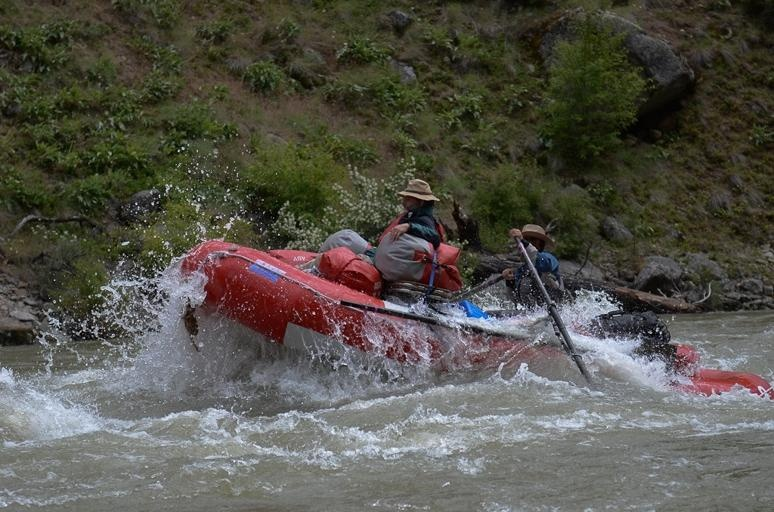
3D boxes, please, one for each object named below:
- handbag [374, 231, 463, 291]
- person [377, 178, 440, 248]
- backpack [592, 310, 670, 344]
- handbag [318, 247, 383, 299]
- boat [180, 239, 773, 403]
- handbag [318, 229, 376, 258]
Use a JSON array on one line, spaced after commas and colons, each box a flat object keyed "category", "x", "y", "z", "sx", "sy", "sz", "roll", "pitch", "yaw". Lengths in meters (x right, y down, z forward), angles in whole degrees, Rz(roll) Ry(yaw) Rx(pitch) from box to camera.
[{"category": "handbag", "x": 0.735, "y": 0.175, "z": 23.065, "sx": 1.234, "sy": 0.571, "sz": 1.259, "roll": 13, "pitch": 6, "yaw": -3}, {"category": "person", "x": 0.540, "y": -0.760, "z": 23.323, "sx": 1.112, "sy": 1.567, "sz": 1.769, "roll": 7, "pitch": 4, "yaw": -20}, {"category": "backpack", "x": 4.969, "y": 1.376, "z": 23.141, "sx": 1.122, "sy": 0.481, "sz": 0.751, "roll": 11, "pitch": -3, "yaw": 3}, {"category": "handbag", "x": -0.709, "y": 0.212, "z": 23.093, "sx": 1.349, "sy": 0.710, "sz": 0.873, "roll": 30, "pitch": 31, "yaw": 26}, {"category": "boat", "x": 0.170, "y": 1.426, "z": 23.040, "sx": 8.106, "sy": 1.499, "sz": 4.717, "roll": 22, "pitch": 0, "yaw": -19}, {"category": "handbag", "x": -0.727, "y": -0.278, "z": 23.258, "sx": 0.790, "sy": 0.339, "sz": 0.614, "roll": 13, "pitch": 10, "yaw": 17}]
